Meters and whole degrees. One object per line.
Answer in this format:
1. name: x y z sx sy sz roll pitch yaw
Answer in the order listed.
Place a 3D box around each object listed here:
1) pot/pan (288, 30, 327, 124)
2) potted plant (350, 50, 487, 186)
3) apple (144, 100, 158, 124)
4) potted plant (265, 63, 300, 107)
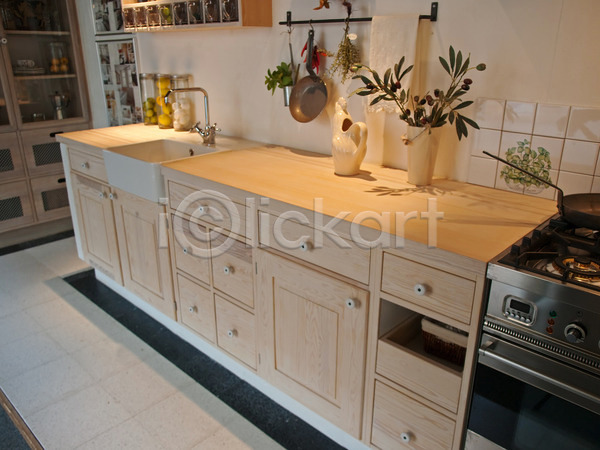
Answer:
1. pot/pan: 0.040 -0.815 2.308 0.100 0.433 0.256 -9 19 -31
2. potted plant: 0.530 -0.506 1.920 0.551 0.584 0.399 7 22 18
3. apple: -1.142 -0.870 3.161 0.098 0.161 0.101 -15 32 -31
4. potted plant: -0.079 -0.818 2.423 0.201 0.233 0.222 -9 17 3
